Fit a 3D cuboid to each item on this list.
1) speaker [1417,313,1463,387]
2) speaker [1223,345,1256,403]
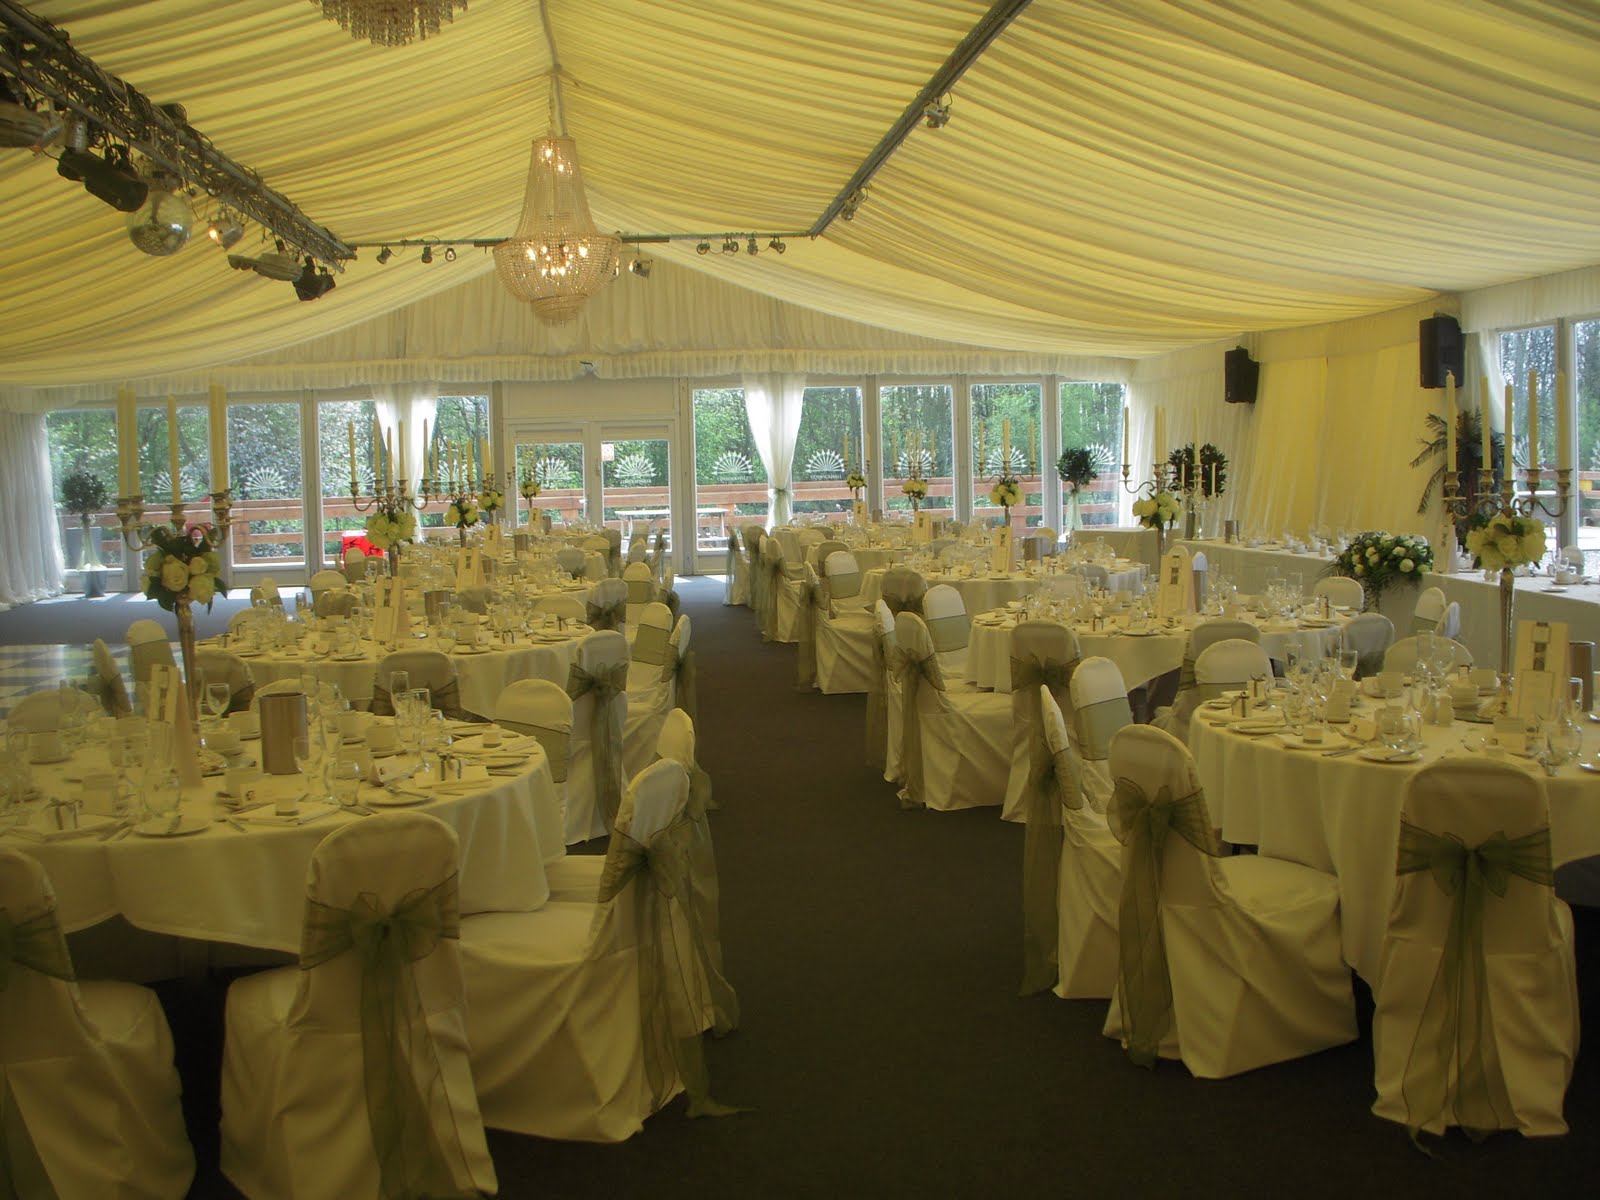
[{"bbox_3d":[6.167,-2.399,11.047,0.381,0.697,0.353,3,10,30],"label":"speaker"},{"bbox_3d":[5.600,-2.844,14.575,0.365,0.738,0.307,0,9,12],"label":"speaker"}]
